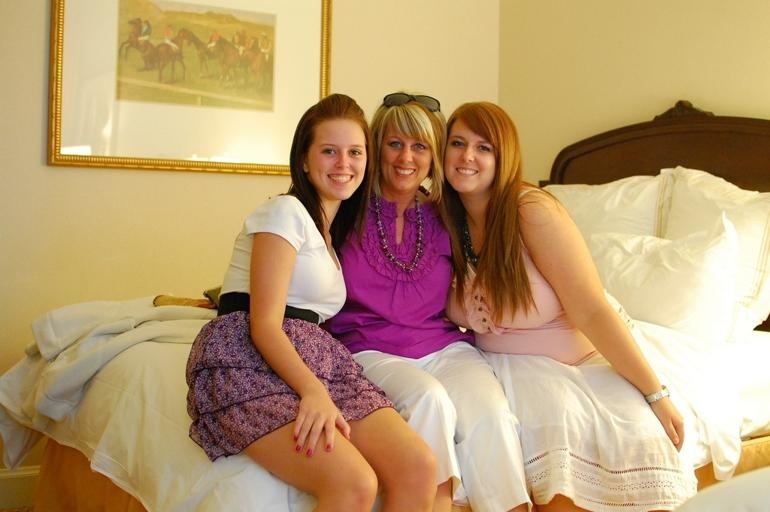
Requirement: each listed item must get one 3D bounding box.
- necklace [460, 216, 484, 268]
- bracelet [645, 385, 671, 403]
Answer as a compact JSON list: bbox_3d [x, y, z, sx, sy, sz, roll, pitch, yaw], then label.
[{"bbox_3d":[0.376,-0.055,2.533,0.038,0.147,0.112,9,-37,-23],"label":"necklace"},{"bbox_3d":[1.060,0.530,2.212,0.089,0.057,0.087,-29,-13,6],"label":"bracelet"}]
